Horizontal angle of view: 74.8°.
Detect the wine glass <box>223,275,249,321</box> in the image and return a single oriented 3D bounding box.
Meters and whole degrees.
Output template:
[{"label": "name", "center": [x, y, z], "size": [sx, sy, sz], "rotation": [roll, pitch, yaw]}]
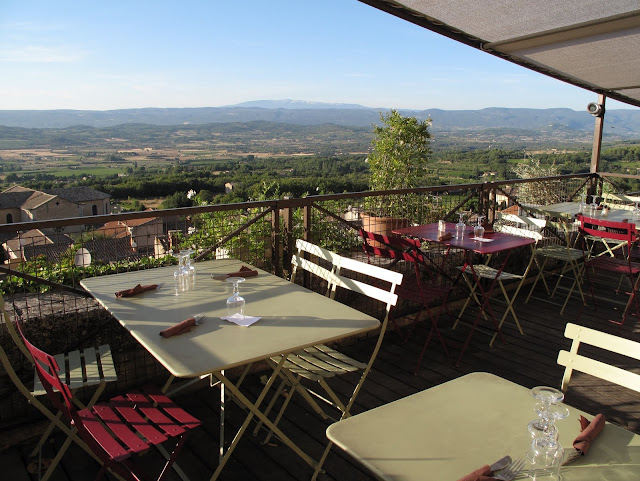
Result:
[{"label": "wine glass", "center": [-0.495, 0.252, 2.351], "size": [0.110, 0.241, 0.493], "rotation": [-5, 16, -12]}]
